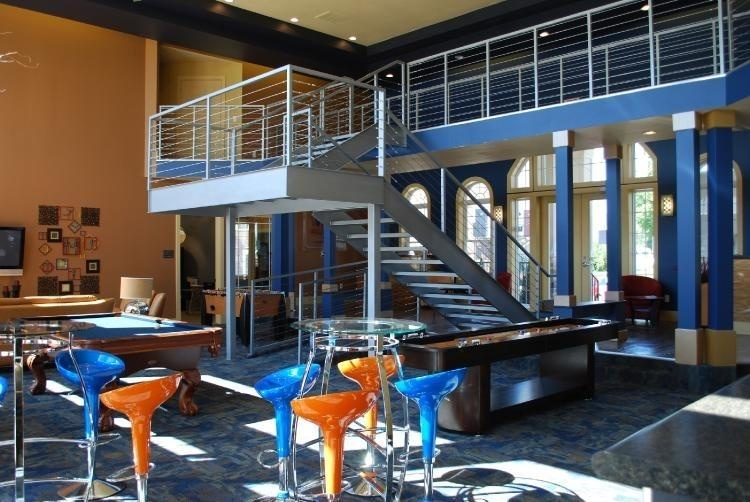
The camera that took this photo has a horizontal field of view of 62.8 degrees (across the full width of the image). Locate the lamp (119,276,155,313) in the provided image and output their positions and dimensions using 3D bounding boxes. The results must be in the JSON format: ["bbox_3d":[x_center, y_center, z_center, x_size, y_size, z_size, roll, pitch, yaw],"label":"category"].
[{"bbox_3d":[-4.054,0.821,10.449,0.600,0.669,0.513,-3,-10,-1],"label":"lamp"}]

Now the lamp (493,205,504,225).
[{"bbox_3d":[2.692,-0.810,13.369,0.215,0.405,0.267,-2,2,2],"label":"lamp"}]

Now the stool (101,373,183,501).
[{"bbox_3d":[-1.860,1.510,4.959,0.608,0.992,0.285,-2,2,-18],"label":"stool"}]

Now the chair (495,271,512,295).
[{"bbox_3d":[2.601,0.604,12.442,0.285,0.357,0.543,-1,1,8],"label":"chair"}]

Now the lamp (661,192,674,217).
[{"bbox_3d":[5.416,-0.839,11.431,0.068,0.395,0.229,-3,2,-35],"label":"lamp"}]

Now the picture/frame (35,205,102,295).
[{"bbox_3d":[-5.723,-0.035,11.522,1.104,1.654,0.084,-3,2,-36],"label":"picture/frame"}]
